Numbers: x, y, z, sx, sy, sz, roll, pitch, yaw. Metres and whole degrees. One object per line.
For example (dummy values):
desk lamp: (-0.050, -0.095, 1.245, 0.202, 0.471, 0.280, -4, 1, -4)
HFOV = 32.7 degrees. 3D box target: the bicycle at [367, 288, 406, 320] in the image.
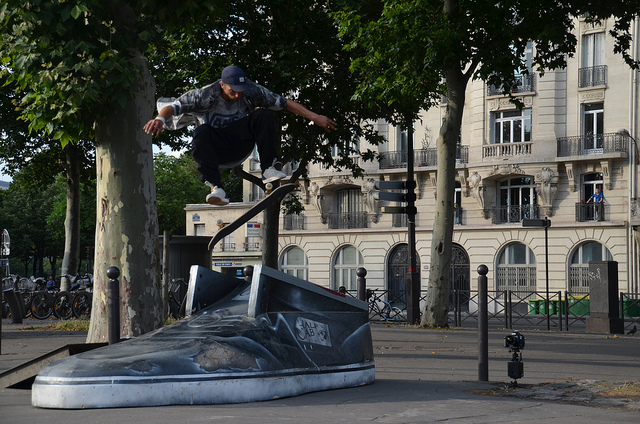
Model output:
bicycle: (2.338, 3.574, 40.490, 0.234, 0.943, 2.331, -5, 5, -38)

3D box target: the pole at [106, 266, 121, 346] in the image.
pole: (-4.283, 1.972, 22.794, 0.265, 1.593, 0.534, 0, -5, -11)

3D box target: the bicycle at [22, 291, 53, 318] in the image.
bicycle: (-9.930, 3.325, 38.389, 0.664, 0.905, 2.954, 2, -6, -28)
